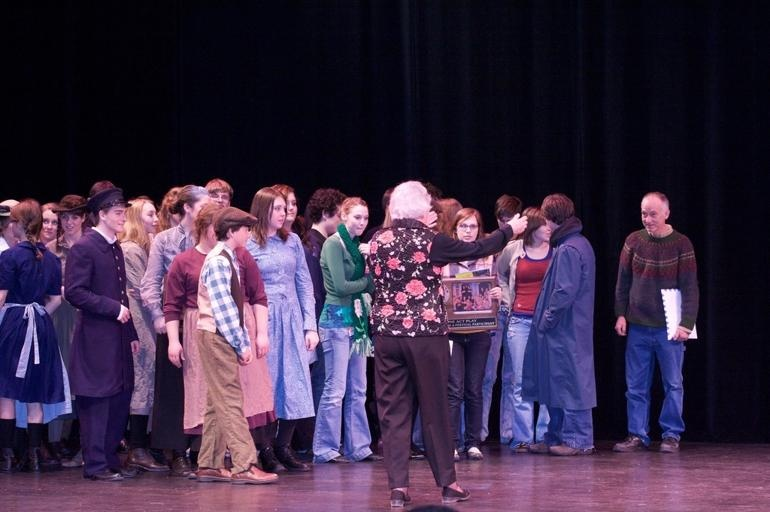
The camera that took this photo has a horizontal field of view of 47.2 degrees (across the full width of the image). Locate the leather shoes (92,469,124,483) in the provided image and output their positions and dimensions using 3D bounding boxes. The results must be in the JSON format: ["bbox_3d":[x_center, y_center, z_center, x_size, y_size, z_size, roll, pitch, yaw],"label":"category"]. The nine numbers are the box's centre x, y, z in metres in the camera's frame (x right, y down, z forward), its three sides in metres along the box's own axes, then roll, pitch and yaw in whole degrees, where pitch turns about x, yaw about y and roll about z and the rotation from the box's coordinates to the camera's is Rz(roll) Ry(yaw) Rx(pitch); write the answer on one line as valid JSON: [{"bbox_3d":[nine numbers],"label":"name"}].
[{"bbox_3d":[-2.365,1.858,7.438,0.274,0.121,0.104,-3,-7,8],"label":"leather shoes"}]

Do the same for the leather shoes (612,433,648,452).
[{"bbox_3d":[2.357,1.805,8.502,0.341,0.151,0.142,1,-5,-8],"label":"leather shoes"}]

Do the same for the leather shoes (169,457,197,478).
[{"bbox_3d":[-1.771,1.828,7.624,0.118,0.150,0.319,4,-7,-41],"label":"leather shoes"}]

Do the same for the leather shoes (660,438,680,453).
[{"bbox_3d":[2.748,1.807,8.479,0.160,0.133,0.299,-8,-10,31],"label":"leather shoes"}]

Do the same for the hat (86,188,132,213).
[{"bbox_3d":[-2.434,-0.479,7.618,0.265,0.134,0.219,-17,-3,27],"label":"hat"}]

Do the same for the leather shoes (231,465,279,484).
[{"bbox_3d":[-1.089,1.824,7.358,0.302,0.132,0.176,-2,-3,5],"label":"leather shoes"}]

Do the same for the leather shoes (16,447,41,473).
[{"bbox_3d":[-3.173,1.806,7.802,0.122,0.233,0.331,2,2,7],"label":"leather shoes"}]

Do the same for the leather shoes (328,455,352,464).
[{"bbox_3d":[-0.414,1.847,8.067,0.218,0.096,0.076,-9,-3,4],"label":"leather shoes"}]

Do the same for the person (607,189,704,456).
[{"bbox_3d":[2.600,0.637,8.511,0.846,2.462,0.407,-5,-8,22],"label":"person"}]

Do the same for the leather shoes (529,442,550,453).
[{"bbox_3d":[1.485,1.826,8.414,0.155,0.064,0.085,1,-2,9],"label":"leather shoes"}]

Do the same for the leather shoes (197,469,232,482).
[{"bbox_3d":[-1.449,1.827,7.445,0.313,0.138,0.116,-2,-4,4],"label":"leather shoes"}]

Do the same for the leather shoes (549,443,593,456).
[{"bbox_3d":[1.756,1.822,8.291,0.371,0.173,0.141,2,-6,-2],"label":"leather shoes"}]

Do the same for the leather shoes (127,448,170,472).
[{"bbox_3d":[-2.066,1.802,7.785,0.408,0.234,0.162,2,-7,-5],"label":"leather shoes"}]

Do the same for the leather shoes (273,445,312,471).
[{"bbox_3d":[-0.847,1.785,7.822,0.401,0.190,0.148,9,-3,14],"label":"leather shoes"}]

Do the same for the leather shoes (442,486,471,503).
[{"bbox_3d":[0.540,1.856,6.850,0.096,0.108,0.232,2,3,29],"label":"leather shoes"}]

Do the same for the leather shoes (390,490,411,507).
[{"bbox_3d":[0.114,1.855,6.800,0.162,0.140,0.145,-2,-8,-5],"label":"leather shoes"}]
